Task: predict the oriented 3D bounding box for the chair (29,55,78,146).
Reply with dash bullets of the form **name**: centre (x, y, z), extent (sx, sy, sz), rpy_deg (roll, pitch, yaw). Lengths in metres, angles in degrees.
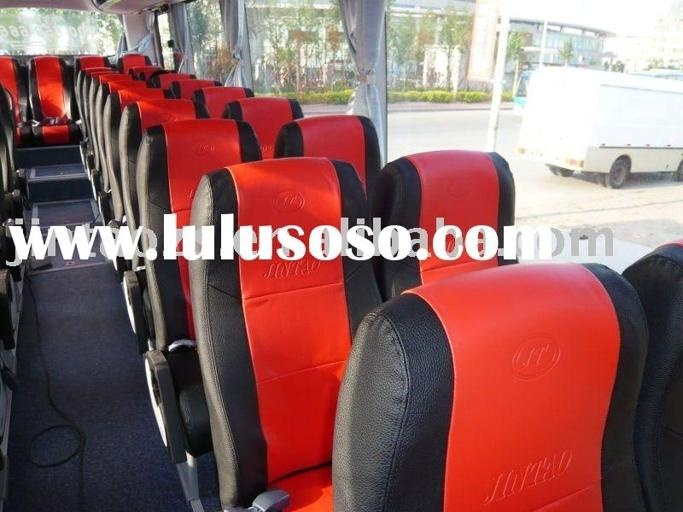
- **chair**: centre (-3.736, -2.010, 6.673), extent (0.530, 1.097, 0.753), rpy_deg (-9, 19, -26)
